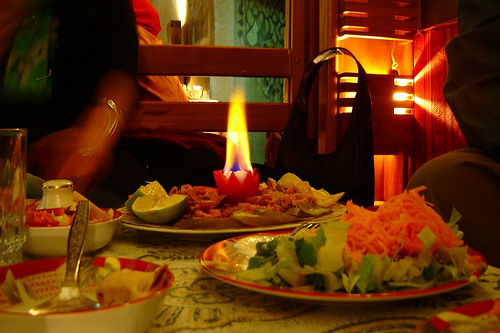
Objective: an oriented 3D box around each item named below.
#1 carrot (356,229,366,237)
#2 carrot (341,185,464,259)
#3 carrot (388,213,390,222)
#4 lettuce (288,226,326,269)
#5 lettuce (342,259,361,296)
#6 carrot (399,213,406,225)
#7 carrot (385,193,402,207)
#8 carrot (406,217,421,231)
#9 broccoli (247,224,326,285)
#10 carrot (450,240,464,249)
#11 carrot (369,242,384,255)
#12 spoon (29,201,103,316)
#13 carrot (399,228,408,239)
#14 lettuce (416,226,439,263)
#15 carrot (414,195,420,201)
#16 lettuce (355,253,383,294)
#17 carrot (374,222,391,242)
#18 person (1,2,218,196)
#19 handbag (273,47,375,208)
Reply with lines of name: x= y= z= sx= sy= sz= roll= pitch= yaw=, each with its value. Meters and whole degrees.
carrot: x=0.152 y=0.090 z=0.538 sx=0.012 sy=0.007 sz=0.008 roll=4 pitch=11 yaw=13
carrot: x=0.212 y=0.057 z=0.545 sx=0.108 sy=0.063 sz=0.112 roll=7 pitch=0 yaw=7
carrot: x=0.198 y=0.073 z=0.562 sx=0.002 sy=0.009 sz=0.011 roll=5 pitch=11 yaw=22
lettuce: x=0.075 y=0.105 z=0.508 sx=0.040 sy=0.040 sz=0.041 roll=-2 pitch=2 yaw=0
lettuce: x=0.126 y=0.138 z=0.493 sx=0.022 sy=0.031 sz=0.040 roll=4 pitch=11 yaw=14
carrot: x=0.212 y=0.073 z=0.546 sx=0.008 sy=0.012 sz=0.019 roll=5 pitch=11 yaw=18
carrot: x=0.224 y=0.052 z=0.607 sx=0.017 sy=0.004 sz=0.018 roll=-22 pitch=-6 yaw=-26
carrot: x=0.227 y=0.080 z=0.548 sx=0.015 sy=0.004 sz=0.015 roll=20 pitch=16 yaw=-32
broccoli: x=0.055 y=0.098 z=0.534 sx=0.082 sy=0.039 sz=0.082 roll=-6 pitch=16 yaw=-16
carrot: x=0.293 y=0.106 z=0.557 sx=0.017 sy=0.005 sz=0.012 roll=-28 pitch=32 yaw=-30
carrot: x=0.169 y=0.107 z=0.524 sx=0.015 sy=0.012 sz=0.015 roll=-4 pitch=8 yaw=-28
spoon: x=-0.214 y=0.115 z=0.476 sx=0.071 sy=0.152 sz=0.012 roll=3 pitch=17 yaw=-36
carrot: x=0.207 y=0.090 z=0.532 sx=0.009 sy=0.004 sz=0.017 roll=34 pitch=28 yaw=-10
lettuce: x=0.237 y=0.104 z=0.523 sx=0.032 sy=0.044 sz=0.019 roll=0 pitch=10 yaw=-5
carrot: x=0.246 y=0.046 z=0.581 sx=0.010 sy=0.007 sz=0.006 roll=-2 pitch=11 yaw=-16
lettuce: x=0.158 y=0.144 z=0.495 sx=0.037 sy=0.056 sz=0.020 roll=-22 pitch=-28 yaw=38
carrot: x=0.180 y=0.089 z=0.538 sx=0.008 sy=0.009 sz=0.031 roll=9 pitch=36 yaw=-20
person: x=-0.718 y=-0.382 z=1.976 sx=0.976 sy=0.950 sz=0.607 roll=6 pitch=11 yaw=22
handbag: x=0.294 y=-0.120 z=1.508 sx=0.388 sy=0.605 sz=0.178 roll=-3 pitch=-13 yaw=37
